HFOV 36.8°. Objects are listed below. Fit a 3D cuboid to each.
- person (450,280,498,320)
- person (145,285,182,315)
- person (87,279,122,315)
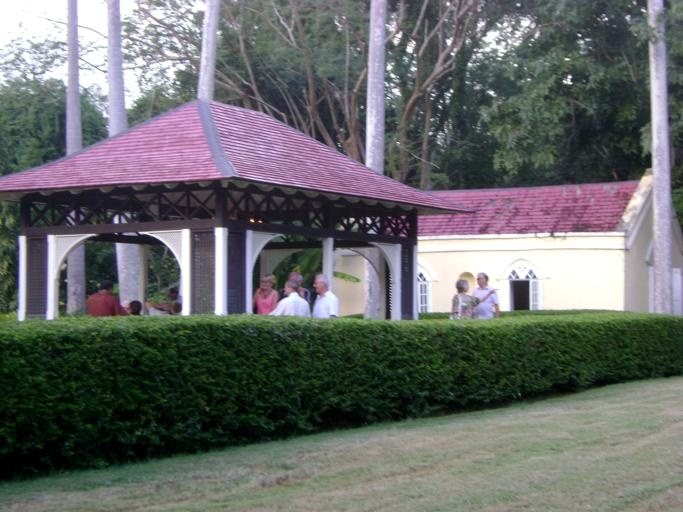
[{"bbox_3d":[2.635,0.911,21.135,0.630,0.886,1.300,11,16,33],"label":"person"},{"bbox_3d":[-4.842,1.189,27.488,0.776,0.777,0.599,25,11,23],"label":"person"},{"bbox_3d":[-4.932,0.942,20.994,0.850,0.789,0.474,4,5,23],"label":"person"}]
